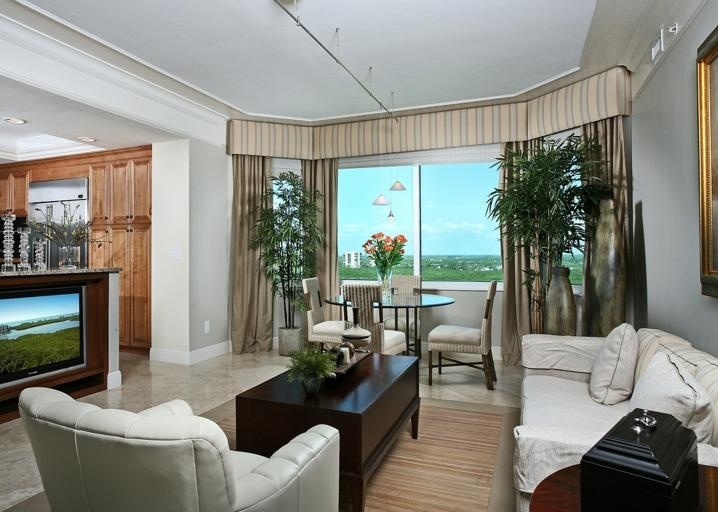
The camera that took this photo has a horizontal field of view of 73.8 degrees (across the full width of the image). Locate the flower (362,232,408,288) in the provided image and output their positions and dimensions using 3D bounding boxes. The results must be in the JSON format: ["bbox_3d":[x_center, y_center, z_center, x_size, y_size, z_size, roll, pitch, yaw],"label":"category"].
[{"bbox_3d":[0.303,0.038,5.847,0.569,0.718,0.577,-2,-1,19],"label":"flower"}]

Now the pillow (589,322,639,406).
[{"bbox_3d":[1.815,0.783,3.383,0.190,0.403,0.419,3,-18,20],"label":"pillow"}]

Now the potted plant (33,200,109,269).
[{"bbox_3d":[-3.706,-0.283,6.208,0.842,0.902,0.863,2,3,-20],"label":"potted plant"}]

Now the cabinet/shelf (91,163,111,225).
[{"bbox_3d":[-3.519,-0.825,6.471,0.352,0.822,0.116,4,10,22],"label":"cabinet/shelf"}]

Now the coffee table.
[{"bbox_3d":[-0.199,0.877,3.448,0.812,0.707,1.400,0,1,18],"label":"coffee table"}]

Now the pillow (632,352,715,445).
[{"bbox_3d":[1.778,0.789,2.738,0.273,0.298,0.532,2,9,13],"label":"pillow"}]

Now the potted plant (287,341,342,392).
[{"bbox_3d":[-0.341,0.790,3.445,0.307,0.285,0.309,-2,-8,-2],"label":"potted plant"}]
